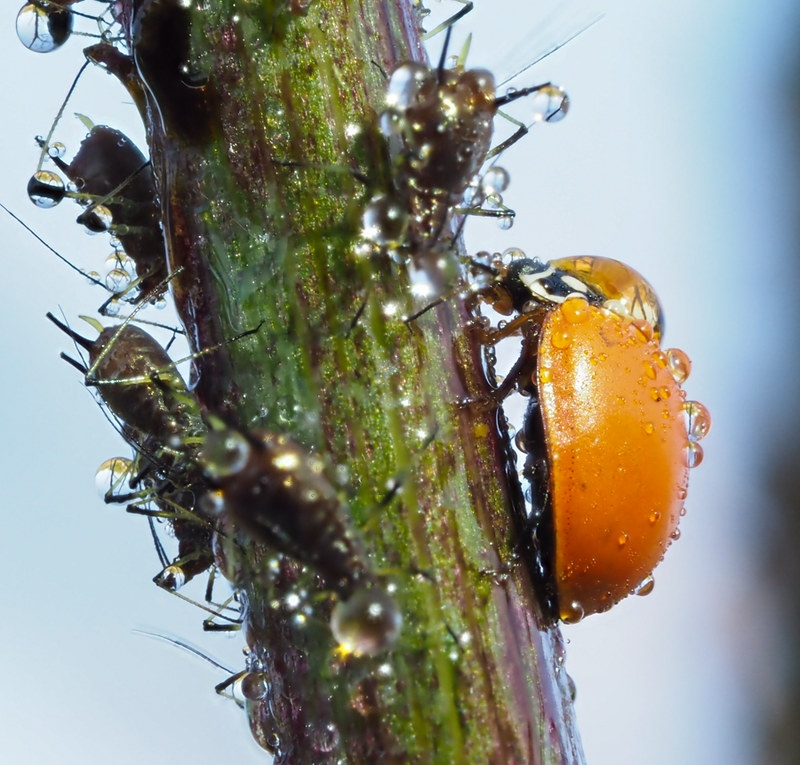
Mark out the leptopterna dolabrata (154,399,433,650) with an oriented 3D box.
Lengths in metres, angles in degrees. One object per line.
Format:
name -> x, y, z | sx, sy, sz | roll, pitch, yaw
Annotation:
leptopterna dolabrata -> -0.080, 0.093, 1.031 | 0.156, 0.181, 0.228 | 5, -22, -10

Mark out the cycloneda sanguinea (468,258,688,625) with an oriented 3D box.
cycloneda sanguinea -> 0.115, 0.046, 1.062 | 0.107, 0.194, 0.271 | -5, -28, 0

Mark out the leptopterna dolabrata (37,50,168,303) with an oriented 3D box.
leptopterna dolabrata -> -0.206, -0.146, 1.137 | 0.059, 0.221, 0.154 | -12, -10, 9
